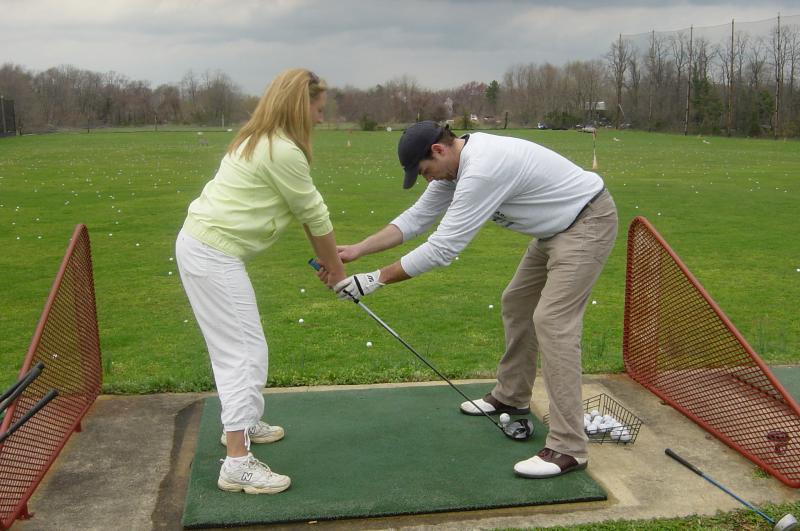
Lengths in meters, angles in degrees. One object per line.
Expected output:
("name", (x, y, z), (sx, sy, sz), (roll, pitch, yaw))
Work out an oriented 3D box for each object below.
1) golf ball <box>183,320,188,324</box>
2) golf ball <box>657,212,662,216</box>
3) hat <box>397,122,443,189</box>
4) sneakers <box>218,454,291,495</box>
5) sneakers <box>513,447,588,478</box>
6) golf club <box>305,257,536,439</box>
("golf ball", (-2.566, 0.667, 8.246), (0.034, 0.015, 0.034), (25, 15, -7))
("golf ball", (5.658, -1.119, 15.054), (0.076, 0.036, 0.126), (-2, 18, 19))
("hat", (0.170, -0.851, 5.378), (0.367, 0.510, 0.261), (-2, 12, 3))
("sneakers", (-1.069, 1.520, 5.090), (0.591, 0.266, 0.226), (2, 2, -2))
("sneakers", (1.148, 1.492, 5.272), (0.570, 0.186, 0.159), (-8, 13, -23))
("golf club", (0.166, 0.851, 6.779), (0.385, 1.943, 0.227), (-46, -3, -36))
